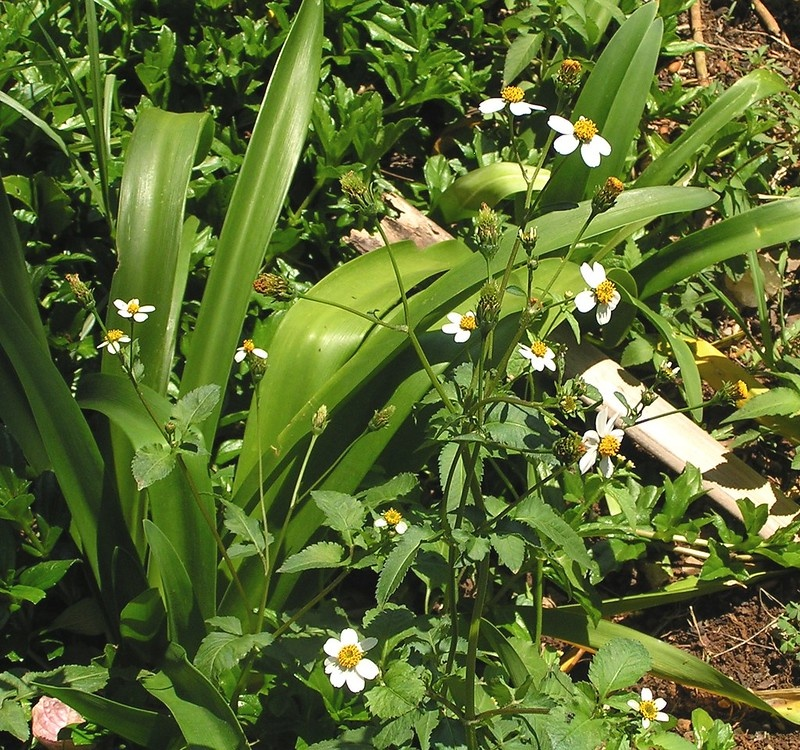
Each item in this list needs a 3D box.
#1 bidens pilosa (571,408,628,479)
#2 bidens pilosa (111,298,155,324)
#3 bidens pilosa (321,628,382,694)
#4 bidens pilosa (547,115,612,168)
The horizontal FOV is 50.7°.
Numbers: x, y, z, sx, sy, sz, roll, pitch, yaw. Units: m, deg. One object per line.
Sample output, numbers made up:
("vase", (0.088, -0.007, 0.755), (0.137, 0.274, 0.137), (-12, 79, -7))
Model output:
("bidens pilosa", (0.452, 0.161, 1.850), (0.124, 0.047, 0.106), (-28, 36, -27))
("bidens pilosa", (-0.655, -0.154, 2.077), (0.072, 0.021, 0.083), (24, 46, 0))
("bidens pilosa", (-0.096, 0.588, 1.734), (0.103, 0.079, 0.108), (41, 37, 24))
("bidens pilosa", (0.403, -0.527, 1.867), (0.127, 0.053, 0.148), (9, 8, -16))
